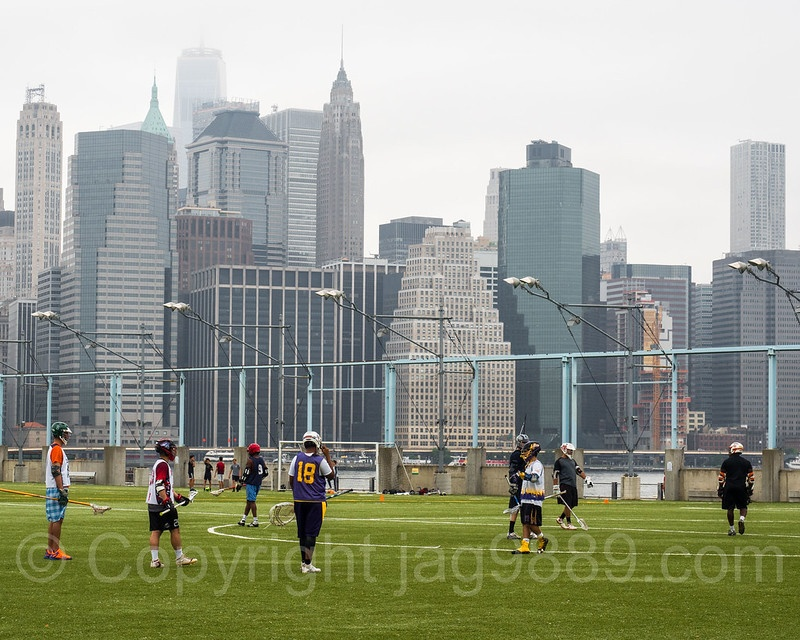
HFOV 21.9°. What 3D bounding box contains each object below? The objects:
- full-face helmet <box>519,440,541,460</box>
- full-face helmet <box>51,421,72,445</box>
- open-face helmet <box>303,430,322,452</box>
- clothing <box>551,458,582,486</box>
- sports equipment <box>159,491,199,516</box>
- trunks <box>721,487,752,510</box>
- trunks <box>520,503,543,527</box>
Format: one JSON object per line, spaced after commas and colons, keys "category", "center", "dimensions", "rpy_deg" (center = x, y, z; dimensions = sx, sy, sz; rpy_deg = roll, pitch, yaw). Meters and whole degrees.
{"category": "full-face helmet", "center": [4.151, 4.171, 66.433], "dimensions": [0.646, 0.580, 0.553], "rpy_deg": [3, -4, 7]}
{"category": "full-face helmet", "center": [-10.492, 3.403, 63.551], "dimensions": [0.731, 0.669, 0.567], "rpy_deg": [-1, 8, -42]}
{"category": "open-face helmet", "center": [-2.808, 3.589, 62.982], "dimensions": [0.531, 0.637, 0.652], "rpy_deg": [0, -12, 15]}
{"category": "clothing", "center": [5.453, 4.996, 68.709], "dimensions": [0.704, 0.967, 0.524], "rpy_deg": [0, -5, -7]}
{"category": "sports equipment", "center": [-6.615, 5.508, 63.270], "dimensions": [0.392, 0.474, 1.984], "rpy_deg": [17, 5, 13]}
{"category": "trunks", "center": [11.175, 5.846, 69.047], "dimensions": [1.104, 1.015, 0.688], "rpy_deg": [3, 4, 14]}
{"category": "trunks", "center": [4.038, 6.063, 65.062], "dimensions": [0.608, 0.861, 1.031], "rpy_deg": [-3, -2, 21]}
